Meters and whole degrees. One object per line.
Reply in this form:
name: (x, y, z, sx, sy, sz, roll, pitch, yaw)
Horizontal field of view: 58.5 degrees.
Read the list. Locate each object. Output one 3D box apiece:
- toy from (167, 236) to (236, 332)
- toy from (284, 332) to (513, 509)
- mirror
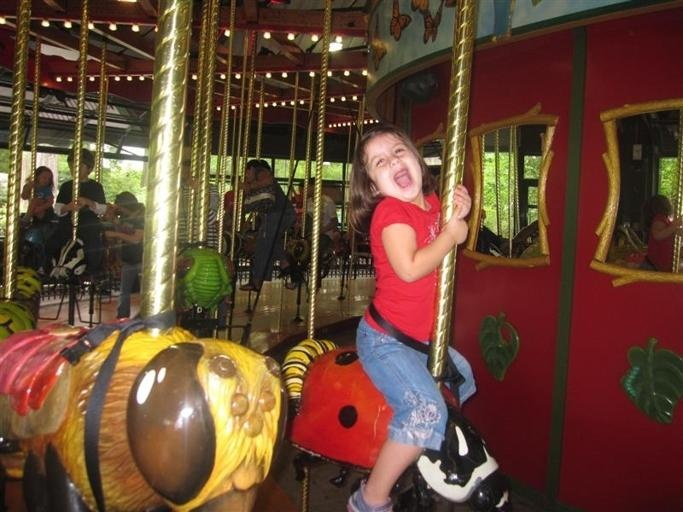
toy: (-0.776, 0.163, 3.442, 0.395, 0.548, 0.535, 1, 12, -13)
toy: (0.231, 0.618, 2.376, 0.453, 0.591, 0.901, -1, -2, -43)
mirror: (1.114, -0.327, 3.085, 0.023, 0.870, 1.033, -2, 4, -38)
